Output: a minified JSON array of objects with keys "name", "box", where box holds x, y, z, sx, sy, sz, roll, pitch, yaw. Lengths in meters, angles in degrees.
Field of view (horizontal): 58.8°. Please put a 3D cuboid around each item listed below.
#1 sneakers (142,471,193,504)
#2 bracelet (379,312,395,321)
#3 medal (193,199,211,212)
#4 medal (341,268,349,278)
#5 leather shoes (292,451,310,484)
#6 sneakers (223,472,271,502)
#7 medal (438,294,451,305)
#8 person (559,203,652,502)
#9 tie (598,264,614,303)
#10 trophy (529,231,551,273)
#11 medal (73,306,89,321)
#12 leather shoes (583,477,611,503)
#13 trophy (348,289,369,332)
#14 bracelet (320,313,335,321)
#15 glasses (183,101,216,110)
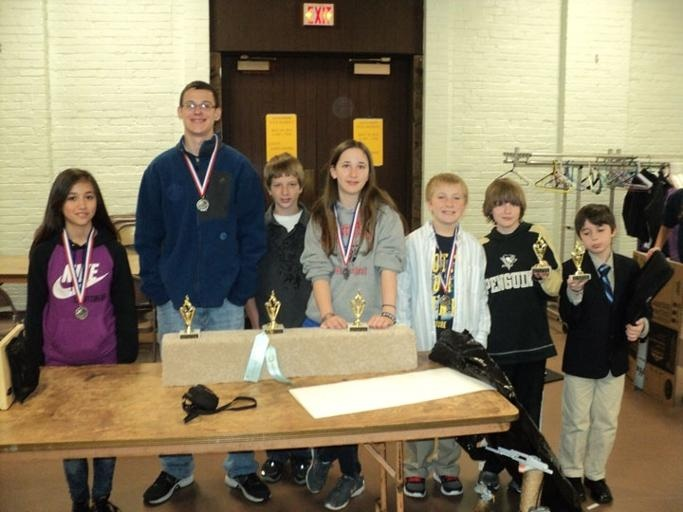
[{"name":"sneakers","box":[-0.956,1.252,3.373,0.103,0.111,0.282,2,8,34]},{"name":"bracelet","box":[0.222,0.297,2.888,0.065,0.039,0.075,-1,11,-2]},{"name":"medal","box":[-0.729,-0.265,3.188,0.069,0.069,0.019,-5,12,-18]},{"name":"medal","box":[0.017,0.088,3.101,0.050,0.050,0.017,2,-2,12]},{"name":"leather shoes","box":[-0.228,1.189,3.431,0.073,0.197,0.085,3,-31,2]},{"name":"sneakers","box":[-0.538,1.258,3.358,0.295,0.126,0.108,11,9,33]},{"name":"medal","box":[0.537,0.227,3.157,0.058,0.058,0.027,-4,-11,7]},{"name":"person","box":[1.372,0.525,3.295,0.368,1.555,0.466,5,13,26]},{"name":"tie","box":[1.441,0.151,3.297,0.064,0.221,0.059,-9,-3,5]},{"name":"trophy","box":[1.008,-0.019,3.075,0.112,0.204,0.113,-7,5,-39]},{"name":"medal","box":[-1.290,0.284,3.007,0.060,0.070,0.028,-2,12,-4]},{"name":"leather shoes","box":[1.404,1.274,3.326,0.076,0.066,0.149,-9,15,-10]},{"name":"trophy","box":[0.070,0.260,2.810,0.125,0.183,0.120,-5,-9,42]},{"name":"bracelet","box":[-0.073,0.294,2.921,0.043,0.030,0.043,-31,-17,-12]},{"name":"glasses","box":[-0.740,-0.774,3.140,0.148,0.040,0.040,-3,12,-8]}]
